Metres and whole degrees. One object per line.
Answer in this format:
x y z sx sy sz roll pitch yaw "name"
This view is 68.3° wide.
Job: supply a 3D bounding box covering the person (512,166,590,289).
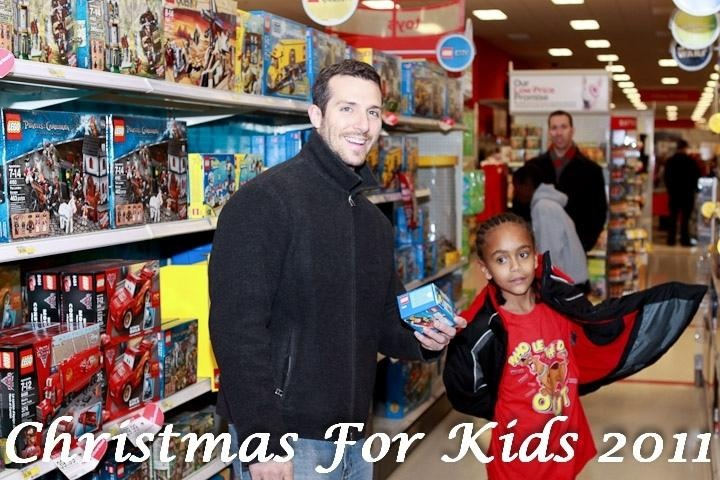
1.907 -0.011 5.294 0.519 1.587 0.744 -16 24 6 "person"
